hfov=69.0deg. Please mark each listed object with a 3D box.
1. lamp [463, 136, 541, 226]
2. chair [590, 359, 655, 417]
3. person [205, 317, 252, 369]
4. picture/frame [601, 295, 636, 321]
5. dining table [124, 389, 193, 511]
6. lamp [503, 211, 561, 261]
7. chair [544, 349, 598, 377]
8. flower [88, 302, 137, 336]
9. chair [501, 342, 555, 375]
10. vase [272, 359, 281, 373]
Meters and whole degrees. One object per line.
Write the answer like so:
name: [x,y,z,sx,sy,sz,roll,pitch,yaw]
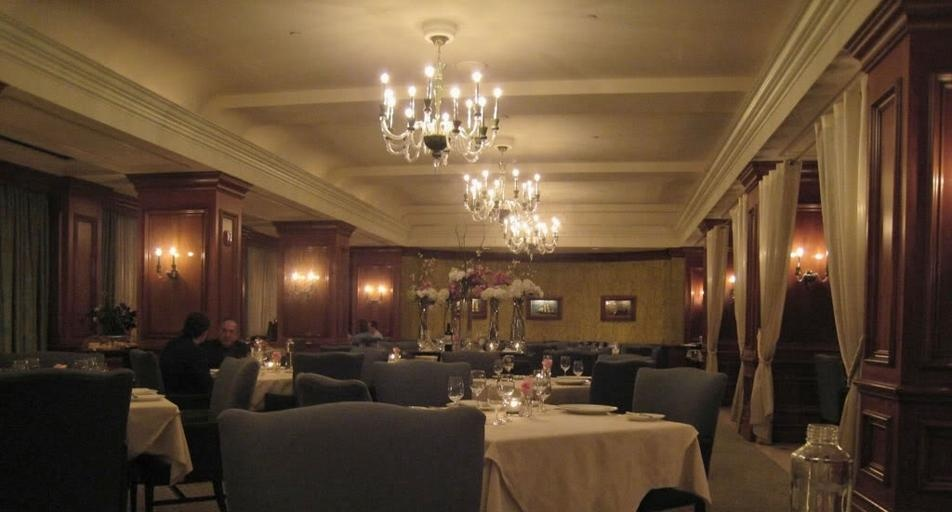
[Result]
lamp: [0.517,-1.450,14.548,1.651,1.614,1.597,1,0,-33]
chair: [1.877,1.658,8.873,0.671,0.784,0.693,1,-8,13]
person: [-3.691,1.358,10.253,0.860,0.752,0.447,8,-7,-18]
picture/frame: [4.523,1.648,21.767,0.880,0.581,0.064,-1,-4,22]
dining table: [-3.417,2.113,7.430,0.764,0.776,1.690,1,5,-28]
lamp: [1.256,-0.594,15.762,1.501,1.670,1.424,1,-1,3]
chair: [1.471,1.550,10.345,0.621,0.595,0.540,4,-12,-12]
flower: [-6.872,1.249,13.496,0.862,0.588,0.928,-3,-6,30]
chair: [0.924,1.699,11.624,0.737,0.763,0.616,5,-14,-12]
vase: [-3.029,1.673,10.501,0.147,0.178,0.066,-4,-1,-11]
